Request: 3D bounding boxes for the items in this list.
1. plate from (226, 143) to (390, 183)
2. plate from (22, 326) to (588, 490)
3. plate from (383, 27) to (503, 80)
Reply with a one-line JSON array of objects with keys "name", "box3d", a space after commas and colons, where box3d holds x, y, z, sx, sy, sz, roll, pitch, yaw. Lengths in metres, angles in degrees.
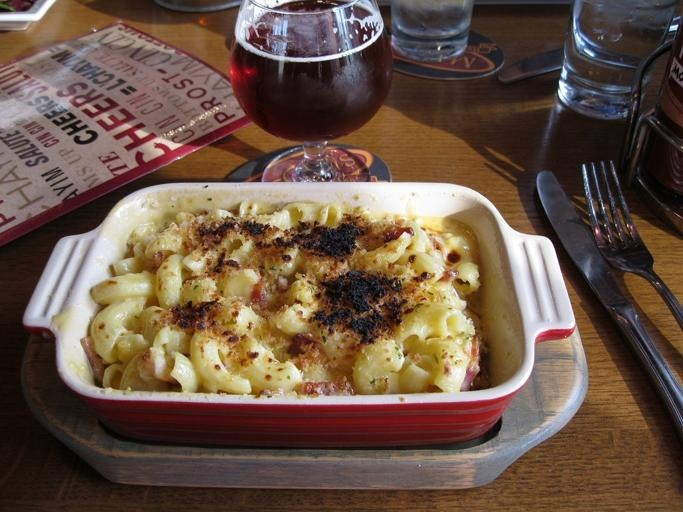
[{"name": "plate", "box3d": [-0.059, -0.206, 1.585, 0.307, 0.279, 0.003, 2, 80, -18]}, {"name": "plate", "box3d": [-0.050, 0.276, 1.104, 0.789, 0.086, 0.401, 0, 38, 1]}, {"name": "plate", "box3d": [0.283, -0.633, 1.962, 0.312, 0.003, 0.303, 13, 42, 25]}]
